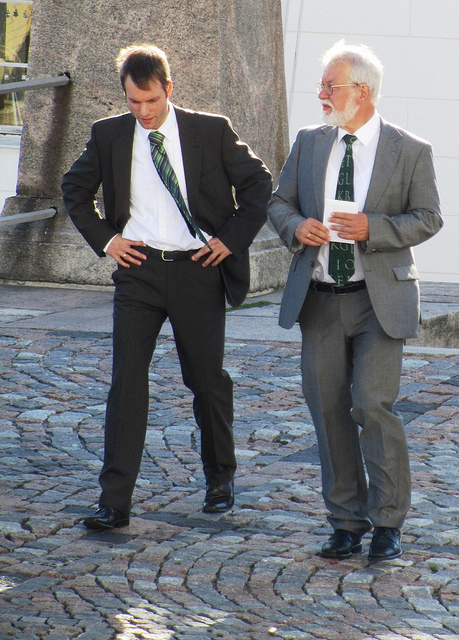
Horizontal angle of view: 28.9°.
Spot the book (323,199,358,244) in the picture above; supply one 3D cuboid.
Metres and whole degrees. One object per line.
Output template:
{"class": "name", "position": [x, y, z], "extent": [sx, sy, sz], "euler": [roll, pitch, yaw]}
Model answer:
{"class": "book", "position": [0.370, -0.329, 3.001], "extent": [0.112, 0.146, 0.119], "euler": [4, 8, 6]}

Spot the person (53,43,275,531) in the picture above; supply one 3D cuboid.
{"class": "person", "position": [-0.231, -0.030, 3.345], "extent": [0.803, 1.538, 0.562], "euler": [2, 9, -12]}

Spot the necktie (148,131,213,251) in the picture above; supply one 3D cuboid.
{"class": "necktie", "position": [-0.185, -0.471, 3.262], "extent": [0.265, 0.428, 0.101], "euler": [4, 9, 1]}

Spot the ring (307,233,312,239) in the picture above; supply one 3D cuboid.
{"class": "ring", "position": [0.267, -0.285, 3.008], "extent": [0.005, 0.016, 0.018], "euler": [34, -15, -5]}

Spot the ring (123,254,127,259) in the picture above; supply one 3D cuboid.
{"class": "ring", "position": [-0.386, -0.232, 3.257], "extent": [0.021, 0.016, 0.005], "euler": [2, -9, 30]}

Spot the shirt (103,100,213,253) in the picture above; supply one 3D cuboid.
{"class": "shirt", "position": [-0.289, -0.522, 3.332], "extent": [0.413, 0.579, 0.121], "euler": [1, -21, -4]}

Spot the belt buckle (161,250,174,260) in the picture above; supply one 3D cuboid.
{"class": "belt buckle", "position": [-0.233, -0.239, 3.277], "extent": [0.035, 0.035, 0.010], "euler": [1, 9, -13]}

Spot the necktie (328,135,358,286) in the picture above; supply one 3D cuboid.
{"class": "necktie", "position": [0.398, -0.379, 3.081], "extent": [0.088, 0.520, 0.131], "euler": [4, 9, 2]}
